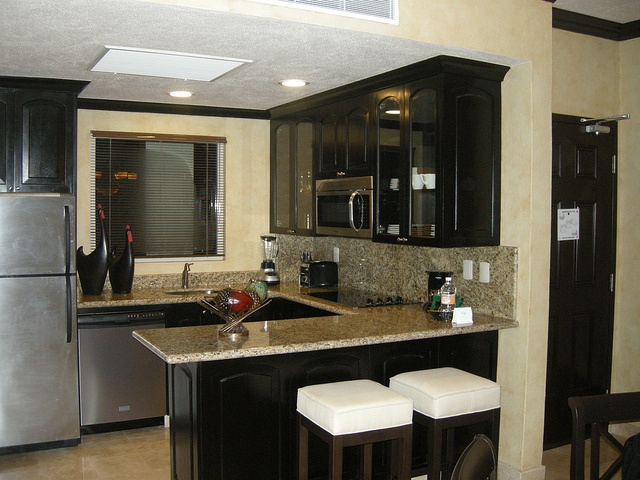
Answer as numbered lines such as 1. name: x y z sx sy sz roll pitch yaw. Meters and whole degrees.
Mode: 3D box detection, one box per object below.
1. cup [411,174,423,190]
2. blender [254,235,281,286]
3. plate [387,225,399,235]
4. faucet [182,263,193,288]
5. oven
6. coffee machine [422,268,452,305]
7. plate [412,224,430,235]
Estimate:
1. cup: 0.704 -0.416 4.062 0.078 0.085 0.102 -1 0 -1
2. blender: -0.522 0.202 5.866 0.206 0.480 0.408 0 12 -5
3. plate: 0.558 -0.078 4.269 0.070 0.047 0.070 0 0 -38
4. faucet: -1.323 0.342 5.593 0.111 0.239 0.285 0 12 -8
5. oven: -1.796 1.104 5.214 0.922 1.051 0.910 -4 6 -37
6. coffee machine: 0.892 0.368 4.325 0.196 0.342 0.240 1 -2 -17
7. plate: 0.726 -0.070 4.031 0.016 0.100 0.181 -7 14 -35
